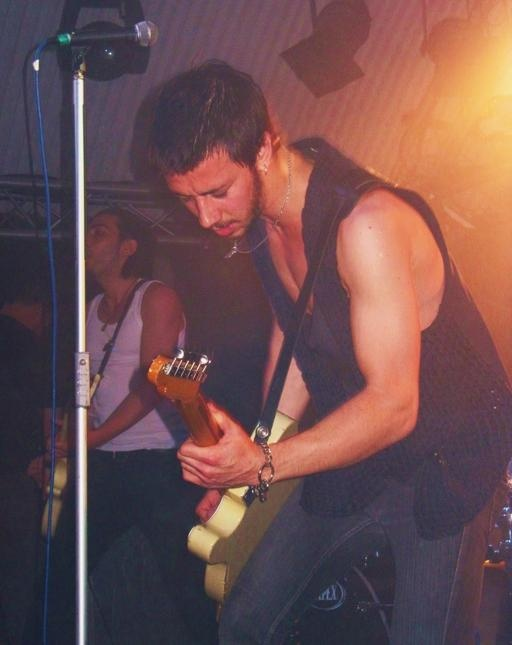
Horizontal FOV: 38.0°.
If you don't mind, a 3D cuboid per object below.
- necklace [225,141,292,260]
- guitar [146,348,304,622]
[{"bbox_3d":[0.010,-0.388,2.271,0.032,0.079,0.476,7,52,21],"label":"necklace"},{"bbox_3d":[-0.106,0.531,2.253,0.093,0.841,0.408,12,58,25],"label":"guitar"}]
